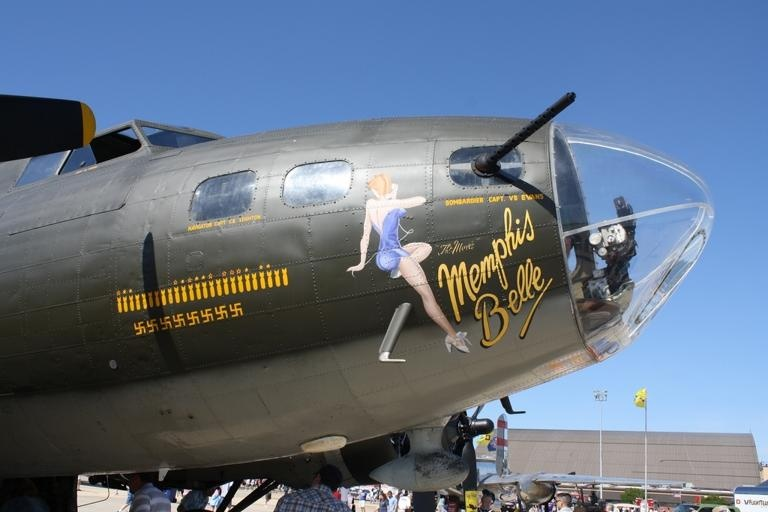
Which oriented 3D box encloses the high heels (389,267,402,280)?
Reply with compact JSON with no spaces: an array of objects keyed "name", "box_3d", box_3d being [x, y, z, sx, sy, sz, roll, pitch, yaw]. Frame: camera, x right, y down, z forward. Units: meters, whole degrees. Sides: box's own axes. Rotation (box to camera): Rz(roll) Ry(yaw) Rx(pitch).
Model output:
[{"name":"high heels","box_3d":[0.174,0.289,12.584,0.140,0.250,0.127,5,-1,-5]}]
